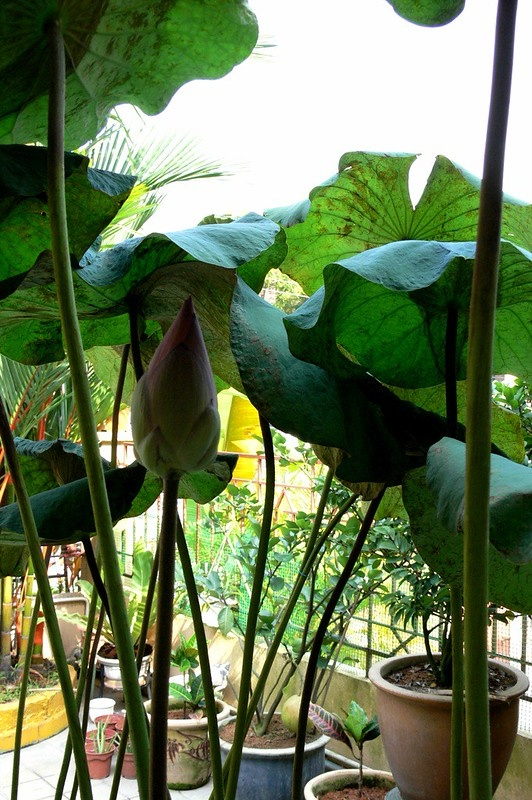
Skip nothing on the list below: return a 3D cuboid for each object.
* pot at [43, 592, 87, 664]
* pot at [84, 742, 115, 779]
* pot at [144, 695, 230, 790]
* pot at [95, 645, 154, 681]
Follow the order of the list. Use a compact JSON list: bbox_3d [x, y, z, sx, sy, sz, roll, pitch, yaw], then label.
[{"bbox_3d":[-1.340,1.483,4.379,0.288,0.405,0.276,5,13,-1],"label":"pot"},{"bbox_3d":[-0.722,1.600,2.841,0.071,0.126,0.174,-2,-10,27],"label":"pot"},{"bbox_3d":[-0.365,1.482,2.711,0.469,0.244,0.442,-3,-29,-2],"label":"pot"},{"bbox_3d":[-0.804,1.501,3.660,0.300,0.233,0.388,4,-9,-11],"label":"pot"}]
